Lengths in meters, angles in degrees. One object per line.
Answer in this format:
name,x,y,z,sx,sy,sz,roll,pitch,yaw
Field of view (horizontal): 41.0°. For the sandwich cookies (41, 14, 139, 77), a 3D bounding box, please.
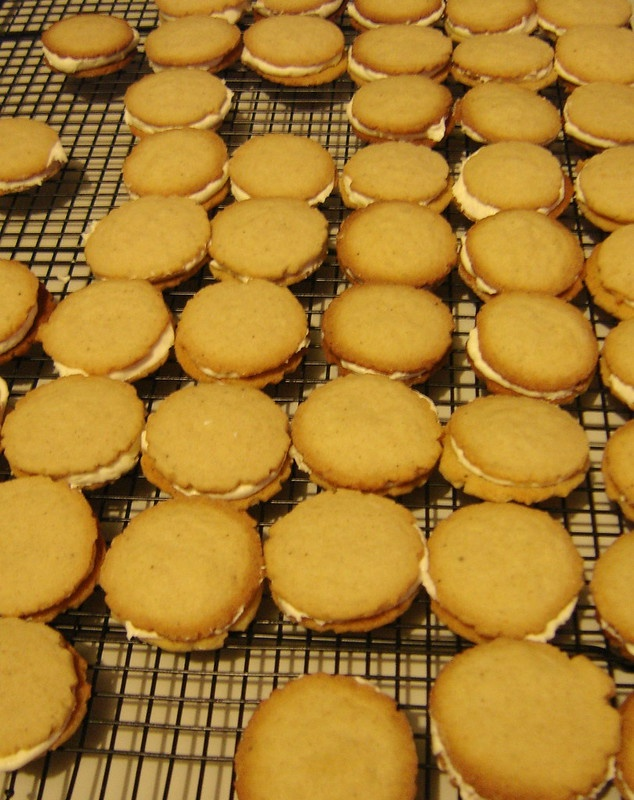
sandwich cookies,-0.900,-1.474,3.371,0.310,0.102,0.294,2,45,0
